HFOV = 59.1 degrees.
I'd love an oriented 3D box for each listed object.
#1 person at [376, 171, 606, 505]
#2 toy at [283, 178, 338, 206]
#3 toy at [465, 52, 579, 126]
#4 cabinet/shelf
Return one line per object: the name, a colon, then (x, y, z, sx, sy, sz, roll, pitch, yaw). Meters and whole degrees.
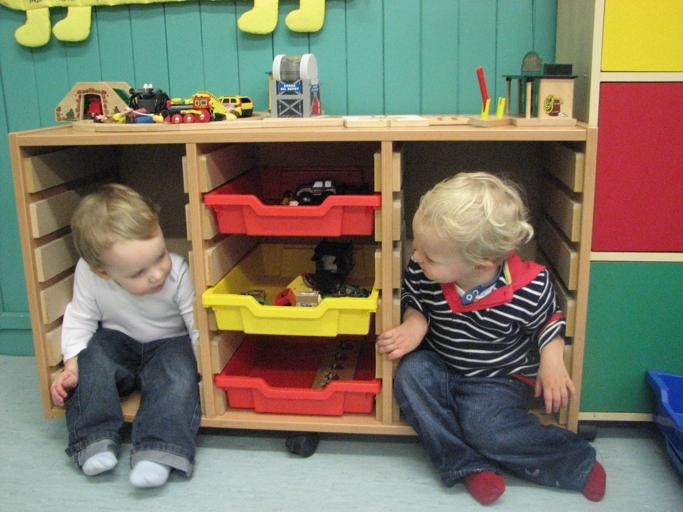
person: (0.383, 0.194, 1.492, 0.575, 0.756, 0.325, 8, 20, 26)
toy: (-0.098, -0.185, 1.777, 0.140, 0.049, 0.100, -1, 18, 1)
toy: (0.488, -0.458, 1.654, 0.246, 0.175, 0.253, 1, 17, 8)
cabinet/shelf: (-0.195, -0.034, 1.792, 1.280, 0.700, 0.421, 3, 16, 0)
